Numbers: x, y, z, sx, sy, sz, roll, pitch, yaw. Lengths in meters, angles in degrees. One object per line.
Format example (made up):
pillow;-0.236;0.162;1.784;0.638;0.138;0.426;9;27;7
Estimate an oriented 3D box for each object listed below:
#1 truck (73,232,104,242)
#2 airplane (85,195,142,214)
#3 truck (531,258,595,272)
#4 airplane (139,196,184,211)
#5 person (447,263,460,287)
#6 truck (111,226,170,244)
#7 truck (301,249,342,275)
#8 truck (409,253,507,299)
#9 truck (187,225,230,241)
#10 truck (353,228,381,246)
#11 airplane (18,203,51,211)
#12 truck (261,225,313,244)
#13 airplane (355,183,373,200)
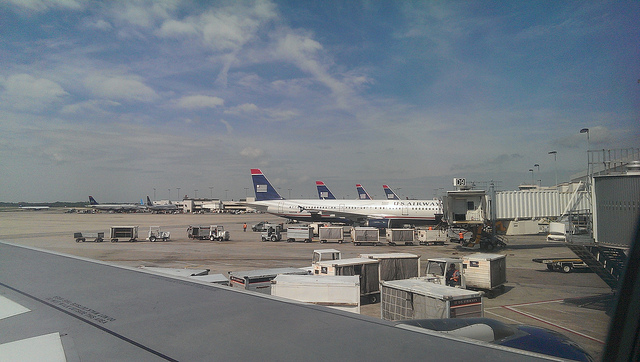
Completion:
truck;-28.883;7.085;58.118;3.034;1.147;1.576;-4;-1;-24
airplane;-91.534;10.417;203.950;24.003;6.750;13.943;-5;-1;32
truck;19.926;6.812;38.218;5.200;0.823;2.494;1;-5;3
airplane;-63.898;10.018;186.493;13.935;4.647;11.599;-3;5;-25
person;8.777;6.182;30.824;0.987;1.585;0.322;-5;-1;-32
truck;-23.325;6.865;59.373;5.956;2.058;5.808;-4;-1;-22
truck;0.283;5.968;34.748;2.565;1.257;1.677;-1;-2;37
truck;10.159;6.727;31.845;6.150;2.321;3.289;-1;-2;-13
truck;-15.046;6.973;61.559;6.549;1.820;2.315;0;1;7
truck;5.529;6.928;57.250;2.670;1.284;2.373;0;-5;0
airplane;-138.403;12.620;222.572;9.391;3.011;34.653;-4;-1;-23
truck;-4.465;7.032;61.065;6.972;1.950;2.497;0;-3;13
airplane;11.575;2.395;105.097;6.194;2.816;4.102;3;11;15
